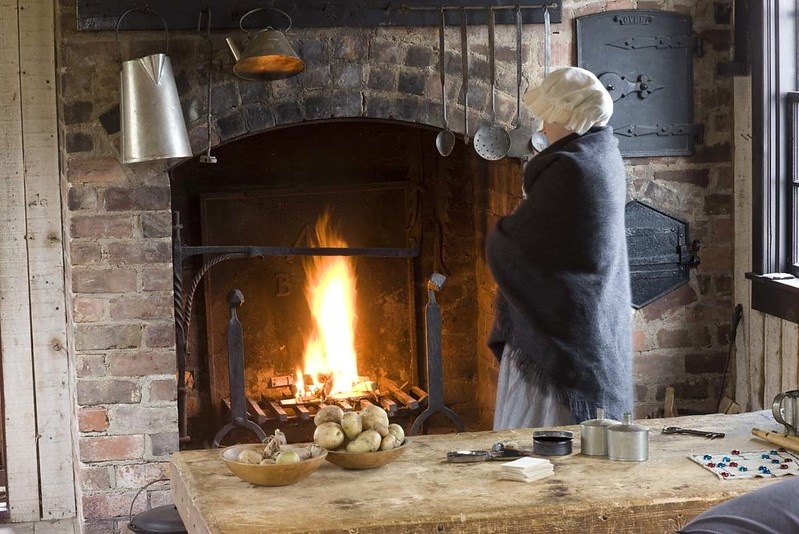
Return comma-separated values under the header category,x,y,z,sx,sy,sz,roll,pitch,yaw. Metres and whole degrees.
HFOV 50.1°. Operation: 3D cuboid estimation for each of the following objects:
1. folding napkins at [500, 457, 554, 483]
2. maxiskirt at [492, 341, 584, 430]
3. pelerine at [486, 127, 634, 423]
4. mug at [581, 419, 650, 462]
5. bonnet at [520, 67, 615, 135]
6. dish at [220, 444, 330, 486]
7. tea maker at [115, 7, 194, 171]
category,x,y,z,sx,sy,sz,roll,pitch,yaw
folding napkins,0.390,0.611,2.603,0.099,0.032,0.080,-1,1,-43
maxiskirt,0.575,0.494,3.399,0.287,0.301,0.288,-5,-10,16
pelerine,0.612,0.036,3.322,0.550,1.144,0.333,-3,-4,11
mug,0.675,0.555,2.706,0.198,0.115,0.123,1,0,40
bonnet,0.654,-0.646,3.345,0.275,0.125,0.280,15,31,18
dish,-0.401,0.622,2.673,0.326,0.081,0.324,1,1,-18
tea maker,-1.040,-0.680,3.647,0.278,0.440,0.158,-1,-4,-18
